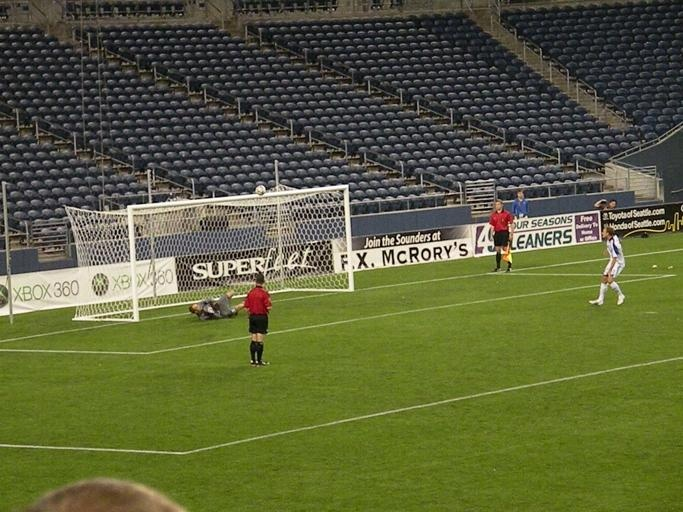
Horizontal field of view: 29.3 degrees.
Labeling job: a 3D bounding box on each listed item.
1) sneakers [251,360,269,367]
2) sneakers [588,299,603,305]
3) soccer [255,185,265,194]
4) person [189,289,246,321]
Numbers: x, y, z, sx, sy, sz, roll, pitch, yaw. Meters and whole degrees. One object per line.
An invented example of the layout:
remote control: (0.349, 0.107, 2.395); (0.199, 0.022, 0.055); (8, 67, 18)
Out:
sneakers: (-2.192, 2.854, 34.873); (0.532, 0.197, 0.164); (-1, 2, 10)
sneakers: (7.619, 1.380, 39.220); (0.335, 0.139, 0.125); (8, 8, 37)
soccer: (-2.668, -2.194, 42.773); (0.288, 0.329, 0.763); (-1, 3, -7)
person: (-3.947, 1.438, 40.546); (1.921, 0.688, 0.922); (-4, 21, -1)
